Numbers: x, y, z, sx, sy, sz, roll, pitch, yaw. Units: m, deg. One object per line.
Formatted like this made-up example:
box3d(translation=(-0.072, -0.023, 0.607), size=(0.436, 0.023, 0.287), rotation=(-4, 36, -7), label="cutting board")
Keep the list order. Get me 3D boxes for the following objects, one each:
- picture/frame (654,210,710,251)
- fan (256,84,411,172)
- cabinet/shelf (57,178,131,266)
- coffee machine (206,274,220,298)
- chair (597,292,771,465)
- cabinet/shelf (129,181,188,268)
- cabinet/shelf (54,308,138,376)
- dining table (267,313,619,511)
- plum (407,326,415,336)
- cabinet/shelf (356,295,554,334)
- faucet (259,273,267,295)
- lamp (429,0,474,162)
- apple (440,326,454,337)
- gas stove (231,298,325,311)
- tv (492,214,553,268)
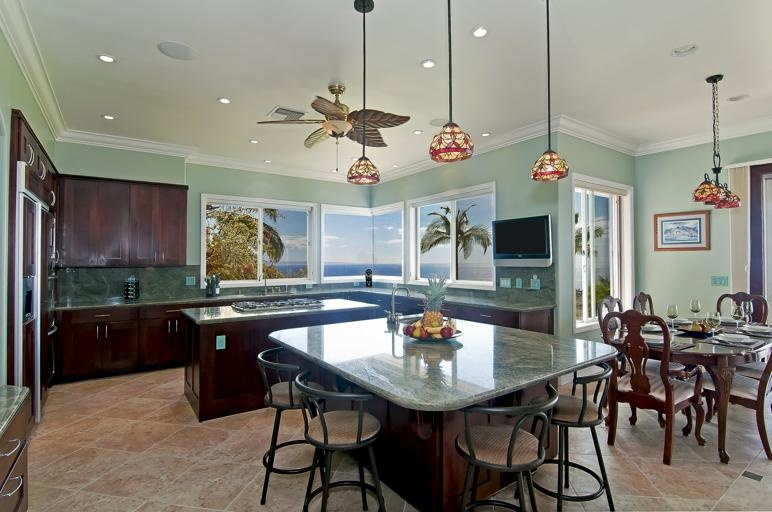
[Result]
box3d(translation=(4.196, -0.365, 6.835), size=(0.620, 0.518, 0.046), rotation=(-1, -4, 42), label="picture/frame")
box3d(translation=(-0.529, -1.368, 5.161), size=(1.450, 0.836, 1.425), rotation=(-4, 2, 2), label="fan")
box3d(translation=(-4.118, -0.464, 7.177), size=(0.989, 1.306, 0.847), rotation=(0, -3, -19), label="cabinet/shelf")
box3d(translation=(-2.757, 0.465, 7.644), size=(0.244, 0.329, 0.198), rotation=(2, 9, 3), label="coffee machine")
box3d(translation=(3.234, 1.120, 5.194), size=(1.760, 1.262, 1.411), rotation=(-2, 1, -36), label="chair")
box3d(translation=(-3.387, -0.471, 7.219), size=(0.789, 1.222, 0.271), rotation=(-2, 10, -22), label="cabinet/shelf")
box3d(translation=(-3.971, 1.150, 6.542), size=(1.005, 1.097, 0.580), rotation=(2, -3, -35), label="cabinet/shelf")
box3d(translation=(0.606, 1.082, 4.211), size=(1.821, 0.996, 2.124), rotation=(-2, 2, -35), label="dining table")
box3d(translation=(0.235, 0.706, 4.568), size=(0.073, 0.082, 0.071), rotation=(-2, 1, 4), label="plum")
box3d(translation=(0.595, 0.914, 6.556), size=(2.503, 0.399, 0.535), rotation=(3, 22, -7), label="cabinet/shelf")
box3d(translation=(-2.092, 0.470, 8.344), size=(0.098, 0.274, 0.505), rotation=(-1, 8, -15), label="faucet")
box3d(translation=(0.619, -1.587, 4.399), size=(0.346, 1.462, 1.271), rotation=(2, 8, 7), label="lamp")
box3d(translation=(0.547, 0.699, 4.505), size=(0.096, 0.094, 0.107), rotation=(-2, 33, -25), label="apple")
box3d(translation=(-1.324, 0.626, 6.076), size=(1.109, 0.045, 0.571), rotation=(-3, 8, -28), label="gas stove")
box3d(translation=(1.876, -0.205, 6.575), size=(0.081, 0.633, 0.783), rotation=(-2, 0, -39), label="tv")
